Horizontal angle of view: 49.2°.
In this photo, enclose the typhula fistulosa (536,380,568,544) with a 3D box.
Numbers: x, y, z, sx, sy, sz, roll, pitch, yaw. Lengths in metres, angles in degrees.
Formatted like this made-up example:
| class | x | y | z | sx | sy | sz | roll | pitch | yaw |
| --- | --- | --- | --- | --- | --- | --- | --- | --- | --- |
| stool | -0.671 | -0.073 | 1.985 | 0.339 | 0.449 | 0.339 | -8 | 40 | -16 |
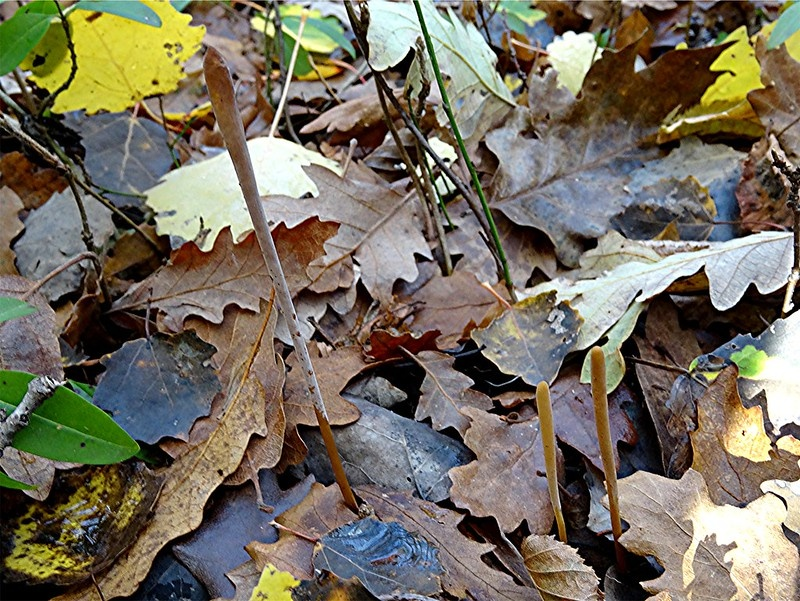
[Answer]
| class | x | y | z | sx | sy | sz | roll | pitch | yaw |
| --- | --- | --- | --- | --- | --- | --- | --- | --- | --- |
| typhula fistulosa | 0.382 | 0.426 | 2.192 | 0.037 | 0.041 | 0.440 | -20 | 109 | -34 |
